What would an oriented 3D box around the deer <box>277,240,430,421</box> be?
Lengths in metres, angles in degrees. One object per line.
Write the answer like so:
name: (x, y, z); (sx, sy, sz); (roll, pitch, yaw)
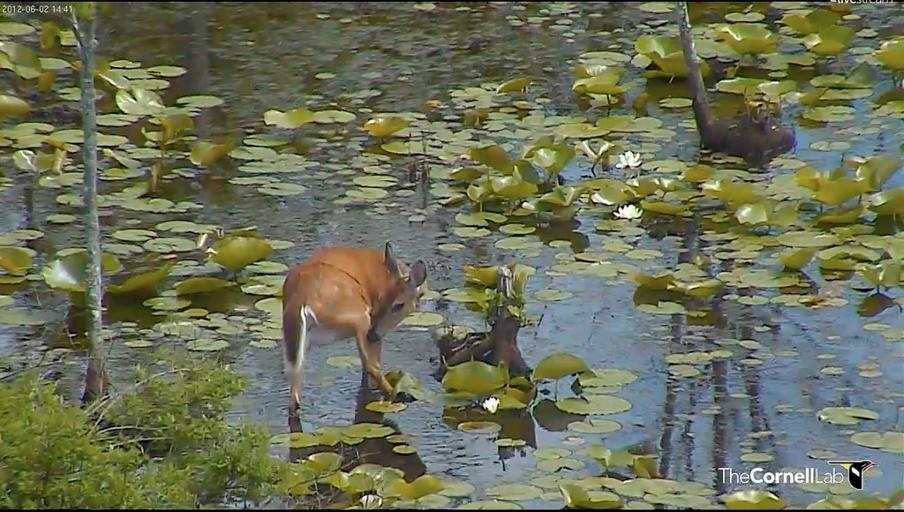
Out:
deer: (-0.715, 0.503, 7.533); (1.154, 1.185, 0.758); (-2, 20, -17)
